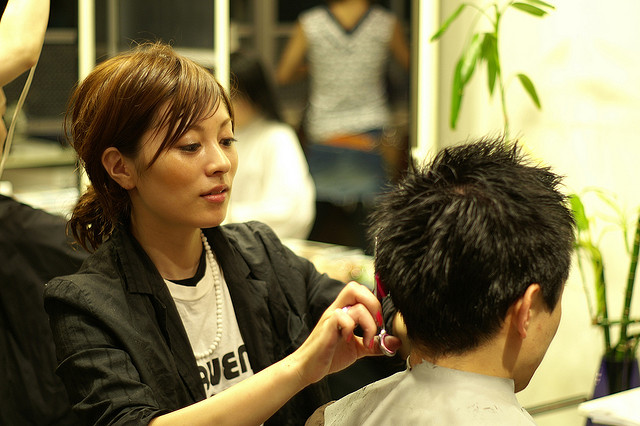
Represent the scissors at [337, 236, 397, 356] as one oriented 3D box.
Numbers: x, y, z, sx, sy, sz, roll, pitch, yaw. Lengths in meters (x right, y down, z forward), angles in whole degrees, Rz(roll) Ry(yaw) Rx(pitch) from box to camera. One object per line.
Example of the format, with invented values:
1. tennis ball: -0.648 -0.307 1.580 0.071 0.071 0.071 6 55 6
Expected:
1. scissors: 0.113 0.173 1.358 0.120 0.275 0.263 3 13 7
